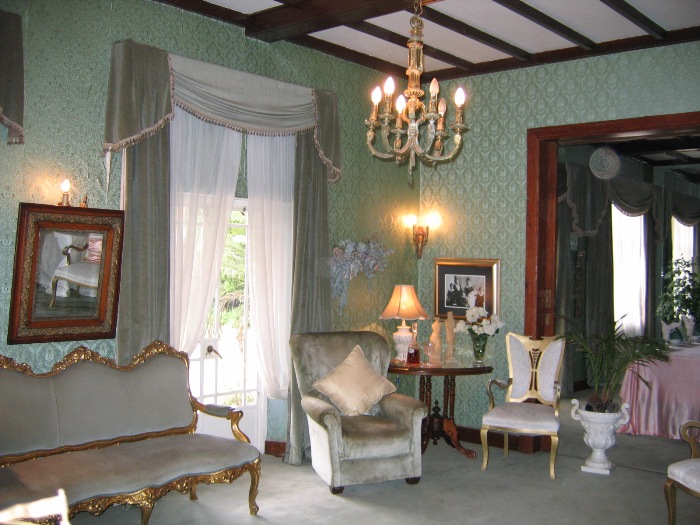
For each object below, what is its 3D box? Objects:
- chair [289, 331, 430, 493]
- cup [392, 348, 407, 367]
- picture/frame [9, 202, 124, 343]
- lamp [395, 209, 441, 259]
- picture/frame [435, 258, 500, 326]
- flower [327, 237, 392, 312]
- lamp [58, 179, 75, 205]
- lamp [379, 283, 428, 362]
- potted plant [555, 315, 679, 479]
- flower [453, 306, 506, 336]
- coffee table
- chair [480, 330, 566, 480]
[{"bbox_3d":[0.033,1.440,5.889,1.081,1.482,1.256,1,-6,-21],"label":"chair"},{"bbox_3d":[0.547,1.096,6.572,0.144,0.173,0.143,2,-3,0],"label":"cup"},{"bbox_3d":[-2.355,0.071,4.699,1.036,1.535,0.136,3,1,-44],"label":"picture/frame"},{"bbox_3d":[0.913,-0.381,7.493,0.541,0.630,0.255,2,3,8],"label":"lamp"},{"bbox_3d":[1.475,0.359,7.073,0.747,0.798,0.054,-2,-2,33],"label":"picture/frame"},{"bbox_3d":[0.062,0.116,6.723,0.256,0.764,0.792,4,3,42],"label":"flower"},{"bbox_3d":[-2.349,-0.575,4.739,0.103,0.230,0.175,0,3,-27],"label":"lamp"},{"bbox_3d":[0.620,0.708,6.791,0.511,0.855,0.518,1,-4,-11],"label":"lamp"},{"bbox_3d":[2.791,1.461,6.401,1.035,1.619,1.034,3,0,28],"label":"potted plant"},{"bbox_3d":[1.536,0.707,6.720,0.397,0.384,0.387,3,-25,-3],"label":"flower"},{"bbox_3d":[0.988,1.679,6.695,1.073,1.025,1.085,6,-14,-18],"label":"coffee table"},{"bbox_3d":[1.865,1.481,6.080,0.807,1.363,0.925,1,-1,43],"label":"chair"}]
